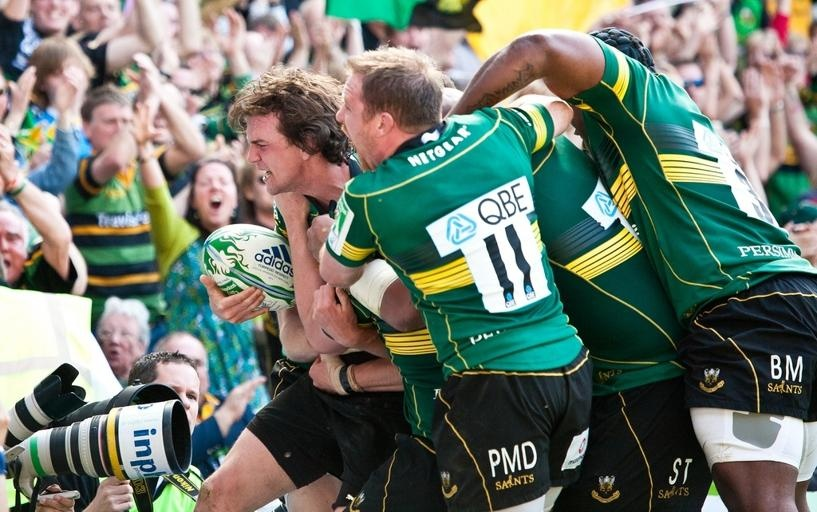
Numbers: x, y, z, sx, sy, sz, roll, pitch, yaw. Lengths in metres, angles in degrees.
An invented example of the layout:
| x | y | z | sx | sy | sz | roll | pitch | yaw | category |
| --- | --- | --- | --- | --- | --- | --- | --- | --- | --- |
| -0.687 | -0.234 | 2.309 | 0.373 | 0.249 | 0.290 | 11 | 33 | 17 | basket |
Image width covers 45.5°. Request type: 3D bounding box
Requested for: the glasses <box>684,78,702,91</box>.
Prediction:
| x | y | z | sx | sy | sz | roll | pitch | yaw | category |
| --- | --- | --- | --- | --- | --- | --- | --- | --- | --- |
| 3.073 | -1.880 | 10.632 | 0.350 | 0.113 | 0.097 | -4 | 8 | -33 | glasses |

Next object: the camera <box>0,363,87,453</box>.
| x | y | z | sx | sy | sz | roll | pitch | yaw | category |
| --- | --- | --- | --- | --- | --- | --- | --- | --- | --- |
| -2.112 | 0.882 | 5.774 | 0.734 | 0.255 | 0.274 | -34 | -20 | 10 | camera |
